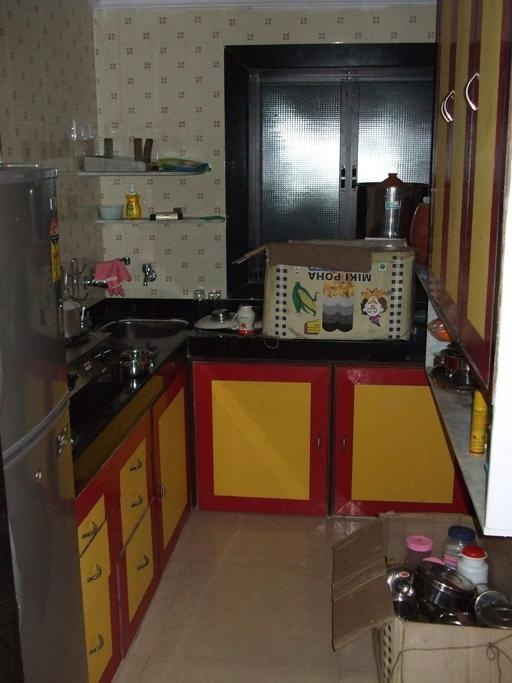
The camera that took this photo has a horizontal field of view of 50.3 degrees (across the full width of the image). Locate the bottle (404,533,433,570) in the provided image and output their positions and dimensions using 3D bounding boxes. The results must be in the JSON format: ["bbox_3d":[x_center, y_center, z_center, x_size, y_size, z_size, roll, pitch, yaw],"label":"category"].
[{"bbox_3d":[0.531,0.703,1.828,0.083,0.100,0.088,0,6,-2],"label":"bottle"}]

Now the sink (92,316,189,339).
[{"bbox_3d":[-0.635,-0.074,3.157,0.266,0.096,0.223,2,12,-1],"label":"sink"}]

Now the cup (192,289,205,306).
[{"bbox_3d":[-0.331,-0.263,3.223,0.071,0.093,0.242,-1,12,-6],"label":"cup"}]

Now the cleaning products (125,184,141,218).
[{"bbox_3d":[-0.702,-0.799,3.130,0.093,0.198,0.251,-2,11,-12],"label":"cleaning products"}]

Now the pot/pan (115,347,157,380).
[{"bbox_3d":[-0.490,0.087,2.270,0.102,0.073,0.152,0,11,-2],"label":"pot/pan"}]

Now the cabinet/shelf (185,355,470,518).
[{"bbox_3d":[0.398,0.373,3.119,1.403,0.920,0.834,2,21,7],"label":"cabinet/shelf"}]

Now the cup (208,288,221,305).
[{"bbox_3d":[-0.240,-0.265,3.265,0.076,0.084,0.148,2,9,-2],"label":"cup"}]

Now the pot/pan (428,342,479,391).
[{"bbox_3d":[0.623,0.098,1.723,0.190,0.077,0.200,0,12,8],"label":"pot/pan"}]

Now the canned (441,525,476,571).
[{"bbox_3d":[0.636,0.643,1.736,0.102,0.186,0.108,1,0,7],"label":"canned"}]

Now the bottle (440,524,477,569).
[{"bbox_3d":[0.629,0.669,1.773,0.074,0.135,0.082,3,24,-17],"label":"bottle"}]

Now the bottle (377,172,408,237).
[{"bbox_3d":[0.700,-0.693,2.829,0.158,0.314,0.466,3,12,13],"label":"bottle"}]

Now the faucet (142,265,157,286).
[{"bbox_3d":[-0.609,-0.392,3.143,0.128,0.143,0.036,-1,8,8],"label":"faucet"}]

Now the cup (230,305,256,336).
[{"bbox_3d":[-0.059,-0.111,2.833,0.092,0.167,0.156,1,1,-6],"label":"cup"}]

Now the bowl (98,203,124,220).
[{"bbox_3d":[-0.809,-0.707,3.067,0.114,0.077,0.105,-2,0,0],"label":"bowl"}]

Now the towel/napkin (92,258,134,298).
[{"bbox_3d":[-0.800,-0.360,3.028,0.169,0.227,0.118,8,24,9],"label":"towel/napkin"}]
